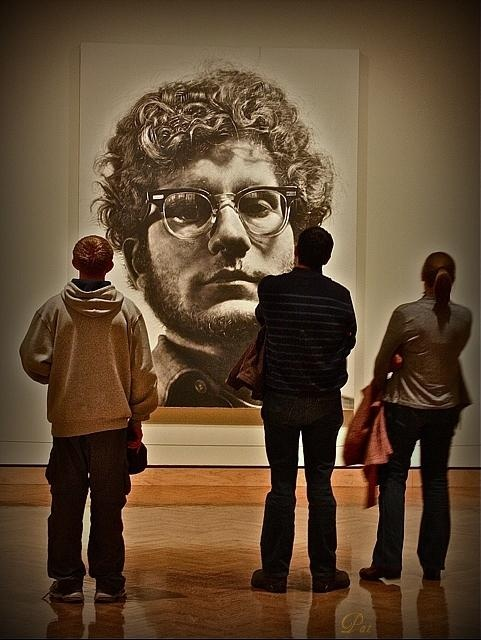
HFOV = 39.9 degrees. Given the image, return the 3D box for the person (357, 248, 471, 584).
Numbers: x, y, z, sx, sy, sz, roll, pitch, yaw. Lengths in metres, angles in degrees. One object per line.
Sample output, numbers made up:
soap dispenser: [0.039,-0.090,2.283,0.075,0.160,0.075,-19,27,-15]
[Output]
person: [0.775,0.420,2.932,0.463,1.444,0.240,1,-2,4]

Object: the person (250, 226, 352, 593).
person: [0.258,0.450,2.740,0.415,1.346,0.242,1,-2,3]

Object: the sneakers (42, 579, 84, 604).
sneakers: [-0.683,1.041,2.586,0.173,0.070,0.073,3,-2,29]

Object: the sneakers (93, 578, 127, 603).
sneakers: [-0.509,1.047,2.564,0.061,0.064,0.159,0,-4,10]

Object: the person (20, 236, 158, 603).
person: [-0.596,0.378,2.585,0.521,1.425,0.206,2,-2,-7]

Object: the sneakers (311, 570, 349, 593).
sneakers: [0.380,1.090,2.814,0.192,0.074,0.065,-1,4,-41]
